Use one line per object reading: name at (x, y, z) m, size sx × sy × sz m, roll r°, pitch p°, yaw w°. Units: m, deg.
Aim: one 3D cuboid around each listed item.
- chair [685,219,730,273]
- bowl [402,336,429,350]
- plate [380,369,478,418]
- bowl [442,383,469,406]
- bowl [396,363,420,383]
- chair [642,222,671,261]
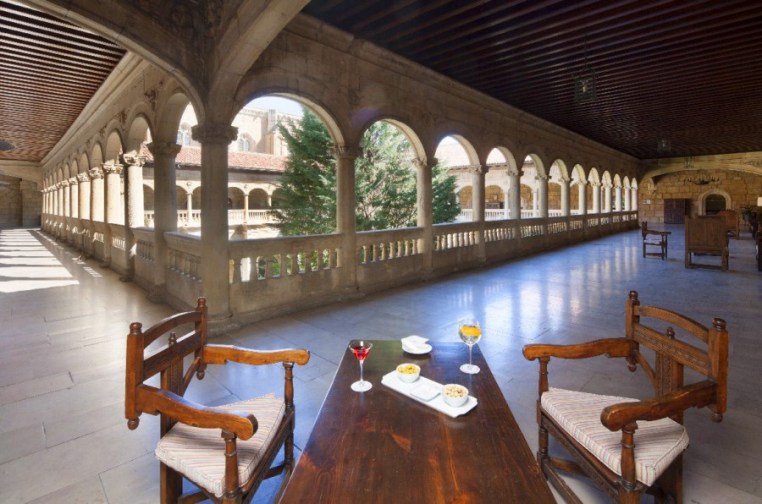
chair at (8.432, -0.191, 11.385) m, size 0.917 × 1.201 × 1.811 m, roll 5°, pitch 7°, yaw 44°
bowl at (0.309, 0.914, 4.402) m, size 0.181 × 0.044 × 0.125 m, roll -14°, pitch 0°, yaw 25°
plate at (0.350, 1.204, 3.756) m, size 0.643 × 0.070 × 0.317 m, roll 14°, pitch 15°, yaw 36°
bowl at (0.608, 1.180, 3.668) m, size 0.155 × 0.074 × 0.159 m, roll -1°, pitch 7°, yaw 0°
bowl at (0.227, 1.067, 3.917) m, size 0.148 × 0.081 × 0.153 m, roll -2°, pitch 6°, yaw 0°
chair at (7.885, -0.335, 12.775) m, size 0.713 × 1.001 × 0.797 m, roll 5°, pitch 9°, yaw 42°
